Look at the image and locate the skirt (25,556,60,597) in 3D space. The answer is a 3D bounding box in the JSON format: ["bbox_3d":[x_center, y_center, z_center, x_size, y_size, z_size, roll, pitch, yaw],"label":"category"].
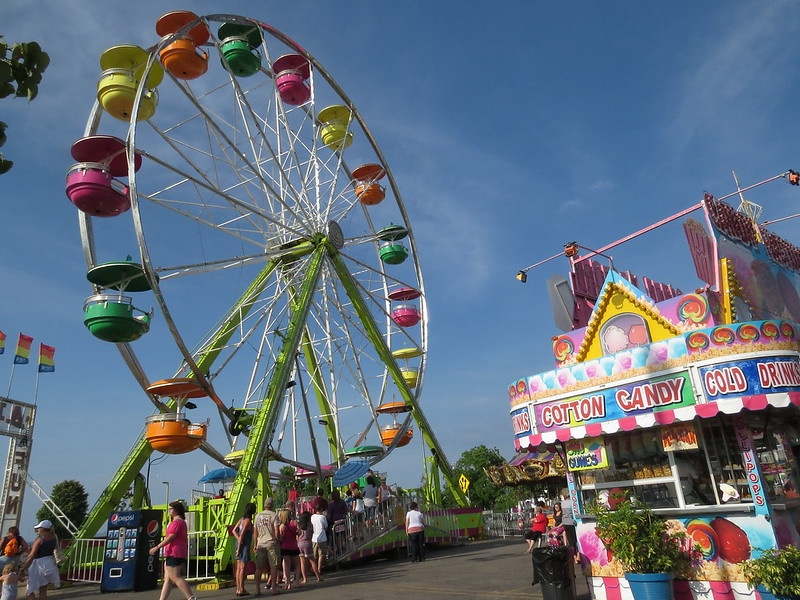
[{"bbox_3d":[-7.161,5.516,10.774,0.507,0.669,0.402,10,-26,-32],"label":"skirt"}]

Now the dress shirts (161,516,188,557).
[{"bbox_3d":[-4.137,4.424,9.951,0.369,0.687,0.276,6,-25,-26],"label":"dress shirts"}]
